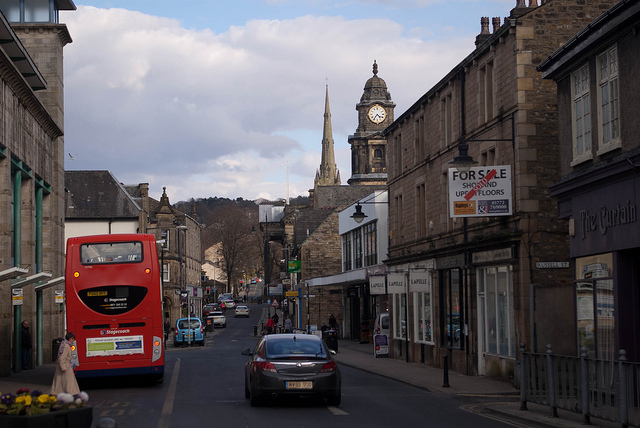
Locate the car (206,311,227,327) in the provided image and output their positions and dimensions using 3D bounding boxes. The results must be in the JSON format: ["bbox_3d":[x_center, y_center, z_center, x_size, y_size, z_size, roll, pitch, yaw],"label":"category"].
[{"bbox_3d":[-10.004,10.142,95.232,1.662,1.627,2.360,2,-14,-11],"label":"car"}]

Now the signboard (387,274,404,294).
[{"bbox_3d":[3.439,3.230,45.186,0.919,1.025,0.728,-1,-10,2],"label":"signboard"}]

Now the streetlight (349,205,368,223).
[{"bbox_3d":[1.777,0.012,45.976,0.717,0.913,0.645,-3,-4,17],"label":"streetlight"}]

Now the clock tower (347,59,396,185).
[{"bbox_3d":[7.716,-13.387,149.960,3.898,19.571,6.992,10,-16,-42],"label":"clock tower"}]

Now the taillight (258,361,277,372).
[{"bbox_3d":[-1.587,4.553,29.346,0.577,0.342,0.119,-6,-13,19],"label":"taillight"}]

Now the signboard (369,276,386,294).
[{"bbox_3d":[2.775,3.429,47.884,0.925,1.022,0.723,-1,-17,3],"label":"signboard"}]

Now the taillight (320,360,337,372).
[{"bbox_3d":[0.255,4.591,29.655,0.222,0.367,0.657,-9,-16,33],"label":"taillight"}]

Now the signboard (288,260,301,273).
[{"bbox_3d":[-2.064,3.882,77.878,1.225,0.979,0.731,2,-26,-3],"label":"signboard"}]

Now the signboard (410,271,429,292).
[{"bbox_3d":[4.106,2.798,40.888,0.743,0.828,0.765,1,-8,-1],"label":"signboard"}]

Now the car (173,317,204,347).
[{"bbox_3d":[-8.337,7.437,62.248,1.282,1.247,2.361,0,-1,-6],"label":"car"}]

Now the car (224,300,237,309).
[{"bbox_3d":[-12.966,12.871,140.181,0.705,1.002,2.012,1,2,27],"label":"car"}]

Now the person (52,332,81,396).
[{"bbox_3d":[-8.045,4.723,31.184,0.796,2.020,1.309,3,-13,-16],"label":"person"}]

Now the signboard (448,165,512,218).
[{"bbox_3d":[5.849,-0.862,36.008,1.670,1.560,0.253,-1,0,7],"label":"signboard"}]

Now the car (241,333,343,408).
[{"bbox_3d":[-0.904,4.931,30.302,2.348,1.746,4.221,1,-4,-4],"label":"car"}]
